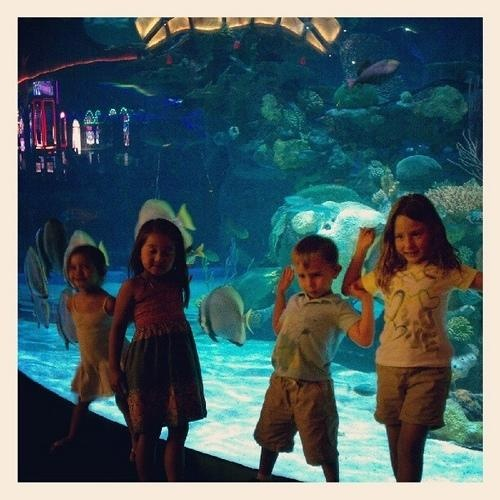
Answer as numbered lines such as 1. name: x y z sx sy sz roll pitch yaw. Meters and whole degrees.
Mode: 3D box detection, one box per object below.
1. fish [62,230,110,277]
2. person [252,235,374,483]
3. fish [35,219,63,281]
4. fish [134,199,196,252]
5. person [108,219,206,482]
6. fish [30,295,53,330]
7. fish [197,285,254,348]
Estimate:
1. fish: -1.455 -0.034 4.346 0.253 0.439 0.794 -10 17 -13
2. person: 0.396 0.691 3.115 0.720 1.568 0.365 0 2 13
3. fish: -1.781 -0.039 4.446 0.294 0.467 0.127 -28 -14 33
4. fish: -0.760 -0.272 4.232 0.599 0.320 0.226 -5 4 -43
5. person: -0.614 0.662 3.290 0.622 1.736 0.368 -1 2 -12
6. fish: -2.046 0.605 4.880 0.171 0.413 0.092 -36 -27 29
7. fish: -0.229 0.631 4.431 0.351 0.558 0.385 13 27 11
